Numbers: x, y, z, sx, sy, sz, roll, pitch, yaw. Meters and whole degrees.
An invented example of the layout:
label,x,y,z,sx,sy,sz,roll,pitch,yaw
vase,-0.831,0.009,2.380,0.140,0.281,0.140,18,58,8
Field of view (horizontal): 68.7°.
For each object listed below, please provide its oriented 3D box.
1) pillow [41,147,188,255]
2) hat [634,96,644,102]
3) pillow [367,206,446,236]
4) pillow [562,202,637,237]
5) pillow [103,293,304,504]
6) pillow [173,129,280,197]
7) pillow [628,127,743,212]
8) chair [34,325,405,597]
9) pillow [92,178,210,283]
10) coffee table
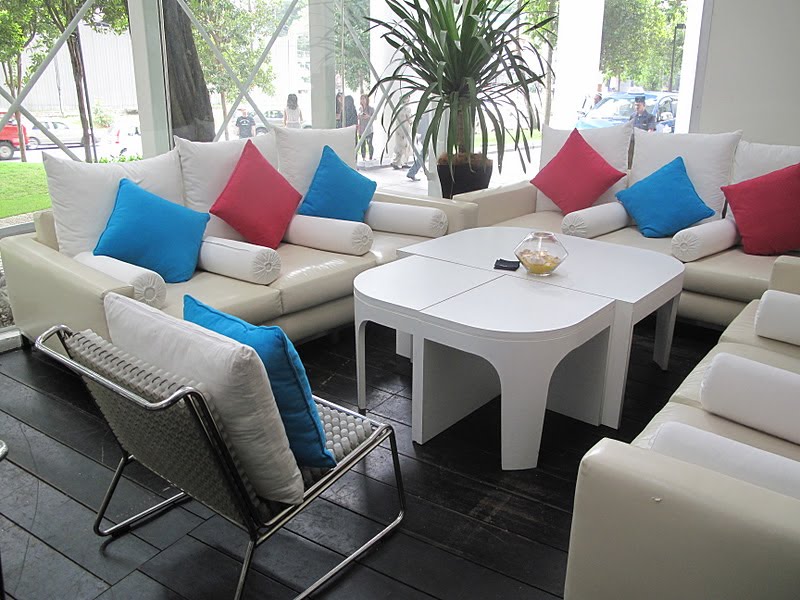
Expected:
label,x,y,z,sx,sy,sz,roll,pitch,yaw
pillow,-1.597,-0.554,3.350,0.221,0.561,0.822,5,15,32
hat,2.550,-2.130,6.205,0.057,0.046,0.058,-21,18,-30
pillow,0.030,-0.530,4.049,0.681,0.216,0.218,9,24,29
pillow,1.387,-0.614,4.045,0.662,0.208,0.206,-16,28,-38
pillow,-0.640,0.200,1.834,0.558,0.436,0.199,18,41,20
pillow,-1.073,-0.828,3.610,0.164,0.455,0.654,6,19,39
pillow,1.984,-0.866,4.155,0.279,0.655,0.773,-3,12,-45
chair,-0.563,0.522,2.248,0.894,1.069,1.081,17,25,36
pillow,-1.409,-0.284,3.259,0.529,0.239,0.537,30,52,-17
coffee table,0.619,0.061,2.833,1.151,0.654,1.343,18,30,35
